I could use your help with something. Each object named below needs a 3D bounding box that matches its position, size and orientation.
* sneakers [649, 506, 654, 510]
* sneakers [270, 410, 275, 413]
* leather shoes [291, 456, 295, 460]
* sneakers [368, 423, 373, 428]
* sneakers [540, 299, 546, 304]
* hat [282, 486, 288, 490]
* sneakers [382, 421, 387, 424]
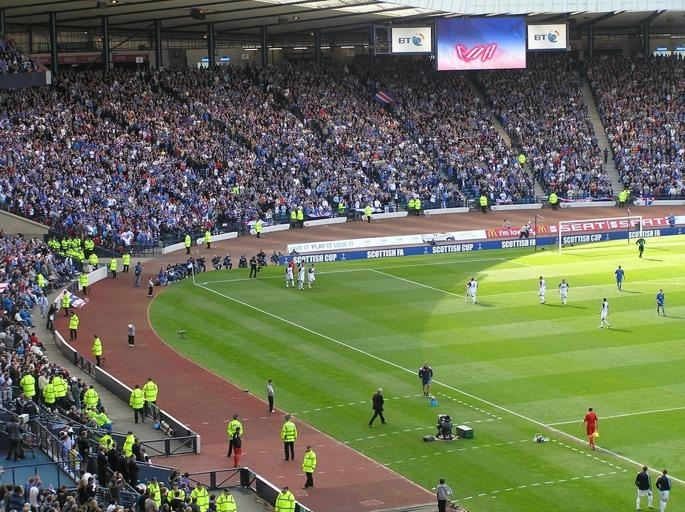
[{"bbox_3d":[14.943,12.049,70.265,0.282,0.120,0.234,-5,7,-15],"label":"sneakers"},{"bbox_3d":[-3.828,8.383,79.762,0.220,0.125,0.298,-3,7,0],"label":"sneakers"},{"bbox_3d":[-2.556,10.331,75.139,0.178,0.159,0.187,-3,7,-2],"label":"leather shoes"},{"bbox_3d":[1.509,8.919,77.621,0.253,0.201,0.240,-3,7,-1],"label":"sneakers"},{"bbox_3d":[12.939,2.817,93.802,0.317,0.200,0.578,-1,7,16],"label":"sneakers"},{"bbox_3d":[-2.684,10.832,68.556,0.199,0.212,0.240,1,1,-1],"label":"hat"},{"bbox_3d":[2.252,8.803,77.841,0.234,0.175,0.273,-4,7,-5],"label":"sneakers"}]
